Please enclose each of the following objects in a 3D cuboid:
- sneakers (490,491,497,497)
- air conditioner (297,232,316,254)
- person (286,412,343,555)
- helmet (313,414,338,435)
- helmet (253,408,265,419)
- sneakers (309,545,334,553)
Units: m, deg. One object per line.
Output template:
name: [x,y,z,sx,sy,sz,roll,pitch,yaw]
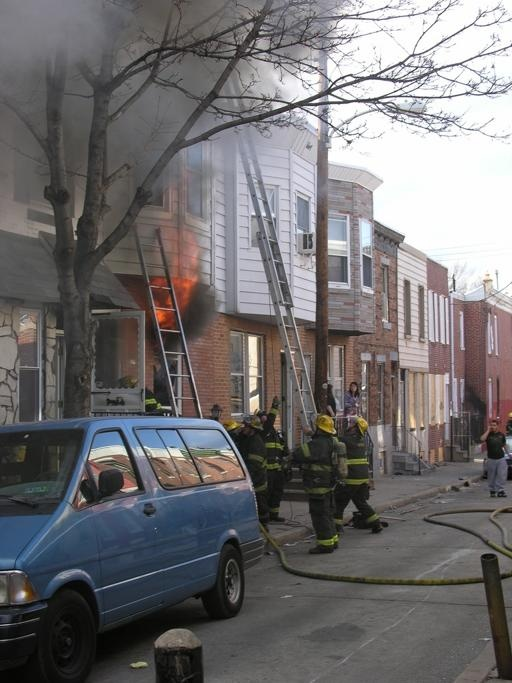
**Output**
sneakers: [4.857,3.133,17.002,0.137,0.137,0.125,-1,3,-22]
air conditioner: [1.000,-2.047,17.568,0.389,0.530,0.539,0,-2,19]
person: [0.769,1.695,9.911,0.691,1.612,0.370,1,-7,-41]
helmet: [0.832,1.027,9.992,0.303,0.163,0.243,21,16,23]
helmet: [0.040,1.026,11.786,0.178,0.168,0.131,10,-1,-18]
sneakers: [0.766,2.449,9.818,0.315,0.101,0.252,-3,-6,-1]
